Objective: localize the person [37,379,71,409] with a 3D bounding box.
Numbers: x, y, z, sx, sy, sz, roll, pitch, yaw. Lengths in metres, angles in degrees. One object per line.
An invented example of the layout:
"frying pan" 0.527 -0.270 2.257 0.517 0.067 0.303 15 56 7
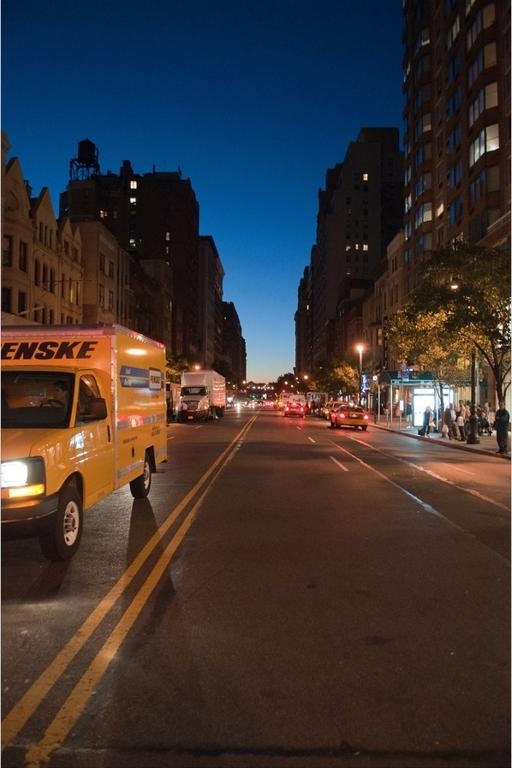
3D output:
"person" -2.382 0.118 7.070 0.325 0.338 1.234 1 -2 -21
